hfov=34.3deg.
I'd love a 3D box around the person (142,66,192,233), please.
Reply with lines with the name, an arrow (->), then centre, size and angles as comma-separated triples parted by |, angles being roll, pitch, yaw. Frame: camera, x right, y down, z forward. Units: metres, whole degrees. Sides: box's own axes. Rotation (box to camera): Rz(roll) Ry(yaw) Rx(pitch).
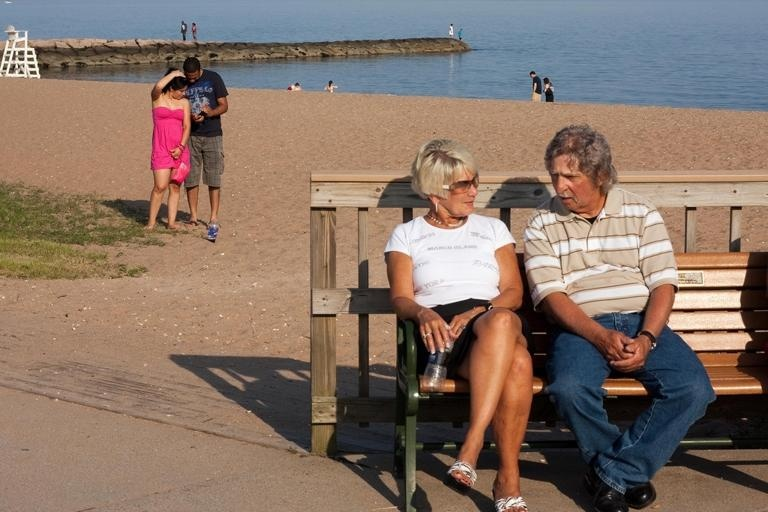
person -> -2.955, -1.406, 16.959 | 0.625, 2.160, 0.978 | -7, 11, -21

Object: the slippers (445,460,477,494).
slippers -> 0.715, 1.933, 11.015 | 0.255, 0.147, 0.396 | 14, -23, 18

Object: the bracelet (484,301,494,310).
bracelet -> 0.966, 0.455, 11.302 | 0.073, 0.023, 0.063 | -28, 58, -19

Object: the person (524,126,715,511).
person -> 2.134, 0.526, 11.285 | 1.440, 3.365, 1.167 | -4, 10, -9

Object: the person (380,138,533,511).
person -> 0.767, 0.582, 11.213 | 1.193, 3.195, 1.229 | -6, 10, -14

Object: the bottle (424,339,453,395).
bottle -> 0.483, 0.987, 11.112 | 0.287, 0.431, 0.135 | -2, 10, 3

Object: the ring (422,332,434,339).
ring -> 0.403, 0.705, 11.126 | 0.087, 0.031, 0.091 | 1, 2, 0
